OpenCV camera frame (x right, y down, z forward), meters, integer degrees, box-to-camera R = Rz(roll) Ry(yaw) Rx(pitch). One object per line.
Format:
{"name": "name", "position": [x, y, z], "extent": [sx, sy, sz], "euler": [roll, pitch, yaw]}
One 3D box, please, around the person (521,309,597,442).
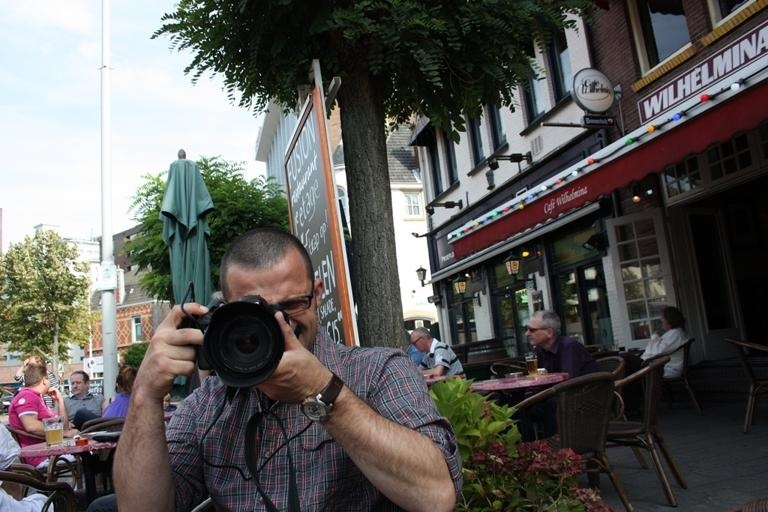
{"name": "person", "position": [1.990, 1.584, 7.248], "extent": [0.897, 1.805, 0.980], "euler": [8, -12, -29]}

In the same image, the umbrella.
{"name": "umbrella", "position": [-2.532, -0.349, 7.893], "extent": [0.653, 2.046, 0.547], "euler": [19, 26, 33]}

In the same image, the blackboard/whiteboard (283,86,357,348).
{"name": "blackboard/whiteboard", "position": [-0.504, -0.351, 4.874], "extent": [0.176, 2.132, 1.749], "euler": [1, -18, -22]}

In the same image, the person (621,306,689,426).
{"name": "person", "position": [4.295, 1.520, 9.984], "extent": [1.303, 2.324, 0.974], "euler": [-1, -3, -2]}

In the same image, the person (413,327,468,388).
{"name": "person", "position": [0.795, 1.497, 9.286], "extent": [1.114, 1.108, 0.528], "euler": [1, -3, -4]}

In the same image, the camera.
{"name": "camera", "position": [-0.669, 0.413, 3.004], "extent": [0.409, 0.388, 0.539], "euler": [-3, -9, -6]}
